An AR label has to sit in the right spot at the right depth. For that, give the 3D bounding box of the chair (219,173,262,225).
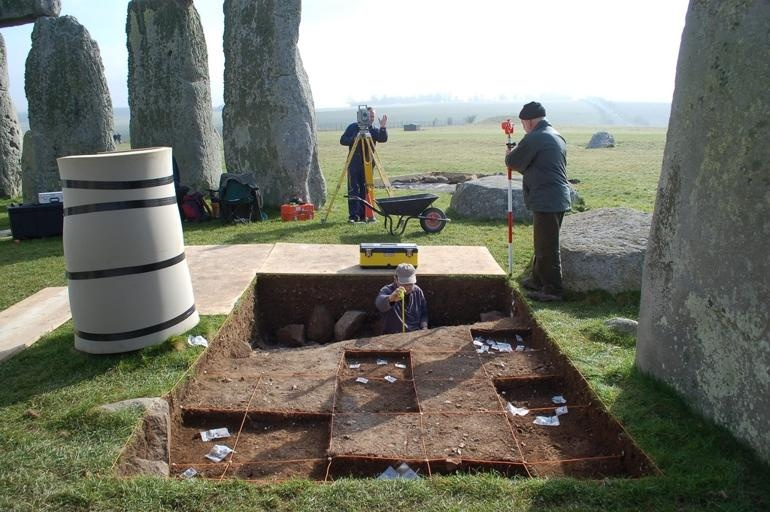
[{"bbox_3d":[-2.922,-1.123,12.241,0.883,1.102,0.873,1,-1,-44],"label":"chair"}]

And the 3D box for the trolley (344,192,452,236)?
[{"bbox_3d":[0.226,-0.827,10.825,1.840,0.817,0.838,-3,11,-6],"label":"trolley"}]

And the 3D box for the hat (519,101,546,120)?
[{"bbox_3d":[1.893,-1.846,7.660,0.365,0.249,0.272,2,14,20],"label":"hat"}]

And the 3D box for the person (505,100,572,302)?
[{"bbox_3d":[1.960,-0.724,7.618,0.738,2.422,0.805,2,14,15],"label":"person"}]

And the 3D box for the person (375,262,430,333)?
[{"bbox_3d":[0.239,0.569,7.940,0.560,1.020,0.611,-10,30,-18],"label":"person"}]

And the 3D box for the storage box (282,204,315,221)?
[{"bbox_3d":[-1.774,-0.888,12.129,0.626,0.304,0.270,-3,13,-7],"label":"storage box"}]

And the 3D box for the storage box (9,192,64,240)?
[{"bbox_3d":[-6.402,-0.722,11.341,1.106,0.900,1.183,-2,12,-16],"label":"storage box"}]

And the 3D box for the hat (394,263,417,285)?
[{"bbox_3d":[0.276,0.235,7.726,0.267,0.268,0.231,-4,13,-10],"label":"hat"}]
